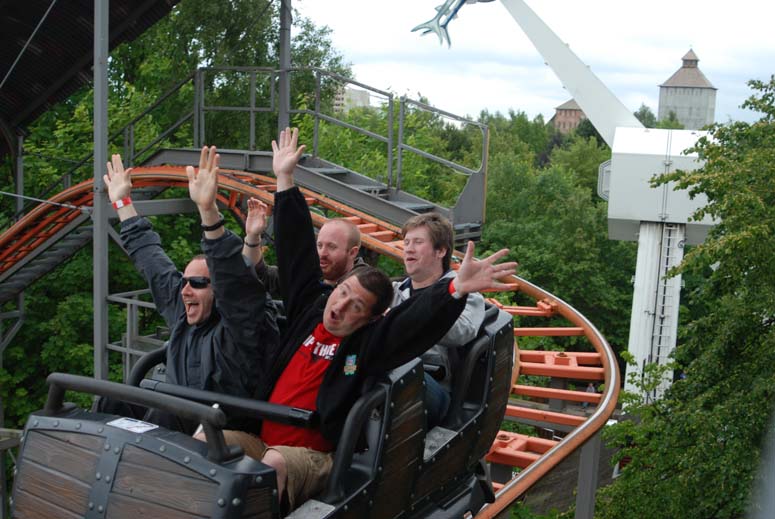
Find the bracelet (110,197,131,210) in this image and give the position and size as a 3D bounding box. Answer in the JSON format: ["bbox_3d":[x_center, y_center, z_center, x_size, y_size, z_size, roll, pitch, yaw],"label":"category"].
[{"bbox_3d":[-2.552,-0.558,8.386,0.129,0.134,0.141,-3,8,17],"label":"bracelet"}]
